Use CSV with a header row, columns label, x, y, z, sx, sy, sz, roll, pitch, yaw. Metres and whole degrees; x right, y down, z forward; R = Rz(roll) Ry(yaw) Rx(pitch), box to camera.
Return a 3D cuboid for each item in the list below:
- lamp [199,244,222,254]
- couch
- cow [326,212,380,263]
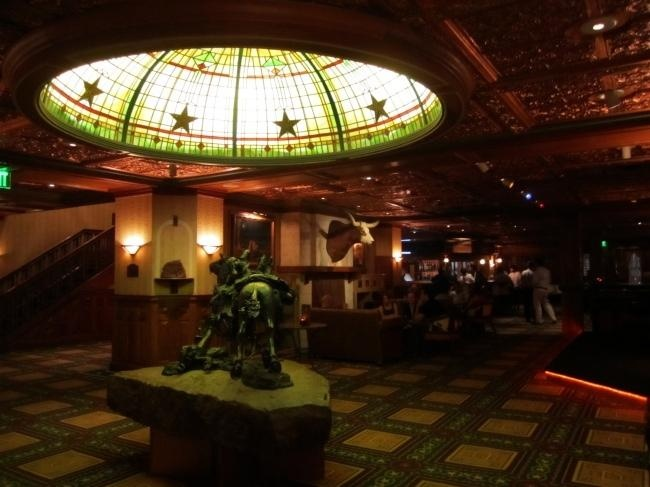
label,x,y,z,sx,sy,sz,roll,pitch,yaw
lamp,-2.338,0.102,8.880,0.273,0.094,0.259,-7,-15,16
couch,0.721,1.957,9.423,2.034,1.096,1.102,-5,-11,39
cow,0.666,-0.084,11.311,1.318,1.145,0.916,-3,-5,26
